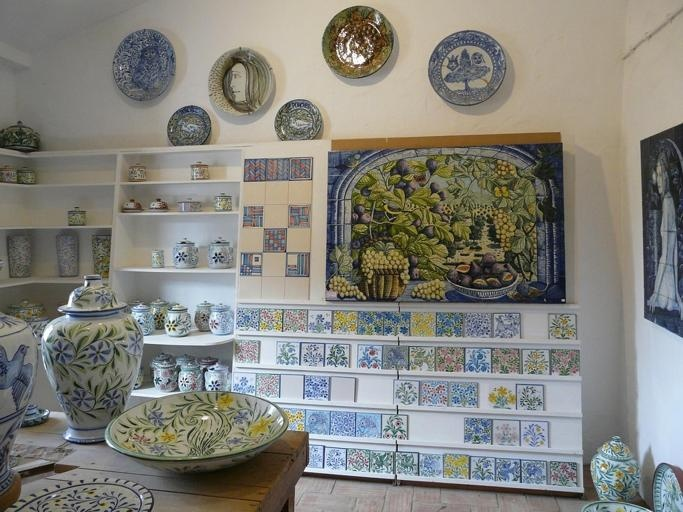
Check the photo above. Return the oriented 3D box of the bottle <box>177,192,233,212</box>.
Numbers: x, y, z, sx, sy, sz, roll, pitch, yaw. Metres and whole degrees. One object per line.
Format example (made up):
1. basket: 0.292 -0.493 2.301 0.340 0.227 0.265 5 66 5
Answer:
1. bottle: -1.014 -0.394 4.317 0.384 0.142 0.170 1 3 10

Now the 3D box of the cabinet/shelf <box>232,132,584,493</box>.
1. cabinet/shelf: 0.550 0.419 3.827 2.293 2.301 0.797 1 0 11

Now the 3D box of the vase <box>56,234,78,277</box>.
1. vase: -2.135 -0.011 4.519 0.153 0.355 0.133 0 -1 -11

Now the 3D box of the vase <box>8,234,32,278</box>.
1. vase: -2.518 -0.006 4.525 0.141 0.346 0.138 -1 -1 18

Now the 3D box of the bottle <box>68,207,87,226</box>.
1. bottle: -2.028 -0.301 4.464 0.150 0.174 0.057 0 2 -3

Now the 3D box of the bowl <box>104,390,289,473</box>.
1. bowl: -0.630 0.713 2.464 0.418 0.101 0.402 2 7 0

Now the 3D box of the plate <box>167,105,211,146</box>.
1. plate: -1.170 -0.976 4.415 0.317 0.334 0.084 -1 4 12

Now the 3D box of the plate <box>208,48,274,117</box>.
1. plate: -0.748 -1.280 4.341 0.491 0.517 0.120 7 9 10

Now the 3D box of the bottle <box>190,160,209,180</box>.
1. bottle: -1.040 -0.619 4.253 0.128 0.129 0.130 0 -3 -7

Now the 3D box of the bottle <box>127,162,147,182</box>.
1. bottle: -1.552 -0.628 4.404 0.140 0.143 0.139 0 -1 -20

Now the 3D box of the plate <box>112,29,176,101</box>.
1. plate: -1.527 -1.486 4.514 0.523 0.547 0.090 3 9 11
